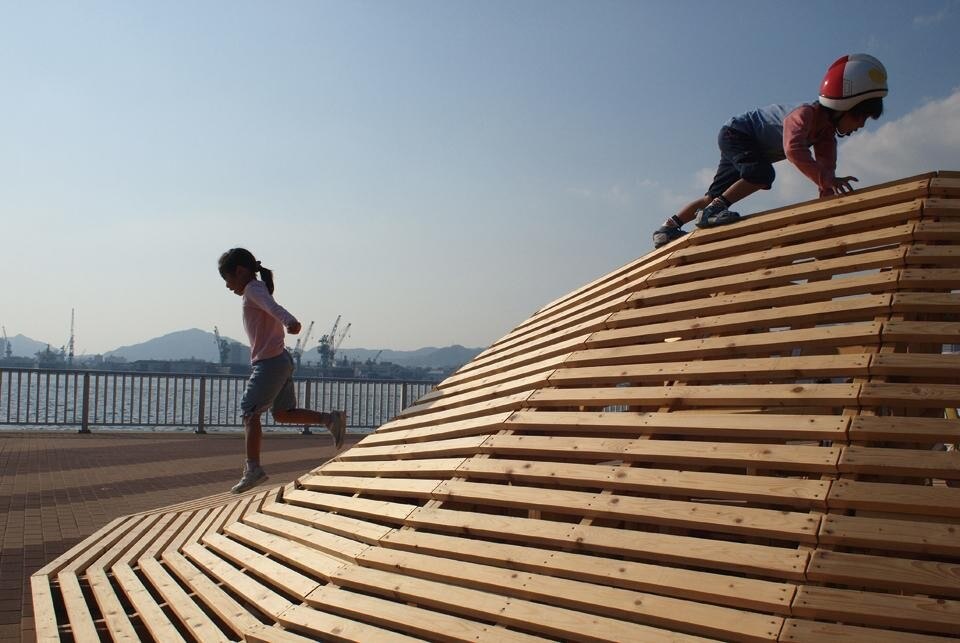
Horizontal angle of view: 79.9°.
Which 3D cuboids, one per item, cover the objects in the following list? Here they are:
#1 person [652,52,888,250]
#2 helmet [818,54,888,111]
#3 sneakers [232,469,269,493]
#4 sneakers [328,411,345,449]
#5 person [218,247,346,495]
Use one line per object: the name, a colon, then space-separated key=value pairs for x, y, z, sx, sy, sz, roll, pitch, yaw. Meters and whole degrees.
person: x=2.347 y=-1.374 z=4.710 sx=0.650 sy=0.980 sz=1.831 roll=-14 pitch=7 yaw=-38
helmet: x=2.700 y=-1.721 z=4.111 sx=0.458 sy=0.312 sz=0.332 roll=11 pitch=36 yaw=40
sneakers: x=-2.150 y=1.460 z=5.288 sx=0.284 sy=0.252 sz=0.328 roll=0 pitch=-4 yaw=-19
sneakers: x=-1.493 y=1.093 z=5.862 sx=0.208 sy=0.364 sz=0.147 roll=-6 pitch=19 yaw=0
person: x=-1.967 y=0.465 z=5.385 sx=1.038 sy=2.326 sz=1.163 roll=-1 pitch=-4 yaw=-8
